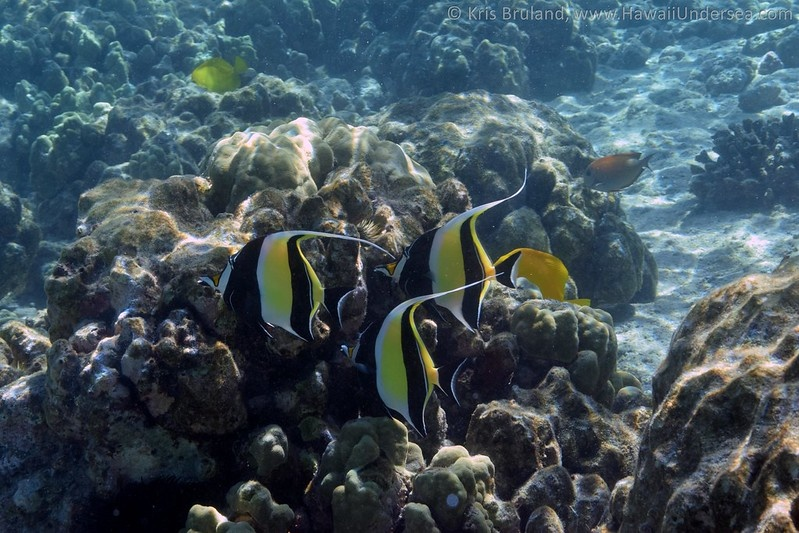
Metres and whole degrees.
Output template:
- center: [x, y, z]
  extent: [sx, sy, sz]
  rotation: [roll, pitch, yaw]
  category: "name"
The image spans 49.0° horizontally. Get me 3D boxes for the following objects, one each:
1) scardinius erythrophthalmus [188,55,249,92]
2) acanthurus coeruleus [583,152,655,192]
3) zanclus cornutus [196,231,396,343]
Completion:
- center: [-4.800, -5.078, 23.453]
  extent: [1.486, 1.037, 0.469]
  rotation: [-11, -8, -8]
  category: "scardinius erythrophthalmus"
- center: [5.656, -2.493, 23.008]
  extent: [1.573, 0.933, 0.418]
  rotation: [-3, 2, 12]
  category: "acanthurus coeruleus"
- center: [-2.505, 0.256, 19.047]
  extent: [4.064, 2.584, 0.863]
  rotation: [13, 23, -1]
  category: "zanclus cornutus"
